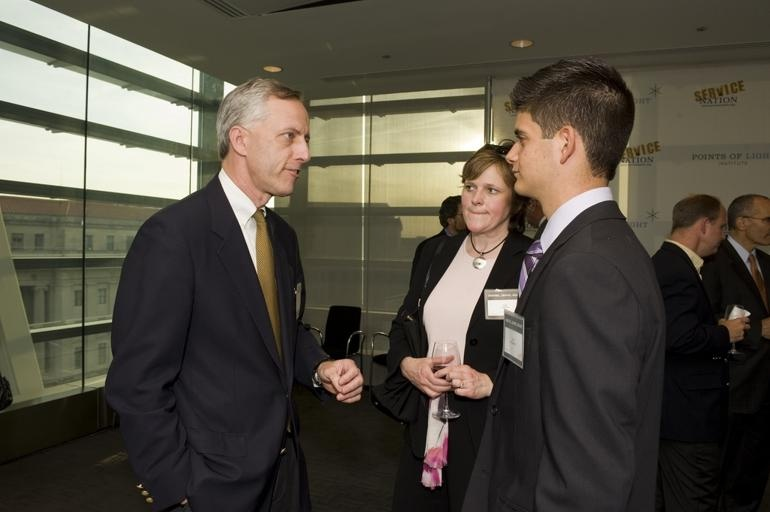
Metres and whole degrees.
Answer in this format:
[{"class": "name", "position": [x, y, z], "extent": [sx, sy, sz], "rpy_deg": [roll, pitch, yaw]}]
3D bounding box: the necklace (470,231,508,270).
[{"class": "necklace", "position": [0.663, -0.042, 3.521], "extent": [0.188, 0.254, 0.109], "rpy_deg": [8, -34, 26]}]

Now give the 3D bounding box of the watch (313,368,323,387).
[{"class": "watch", "position": [-0.393, 0.707, 3.221], "extent": [0.032, 0.089, 0.065], "rpy_deg": [-9, 17, -19]}]

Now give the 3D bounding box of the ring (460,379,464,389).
[{"class": "ring", "position": [0.435, 0.730, 3.146], "extent": [0.021, 0.032, 0.034], "rpy_deg": [7, -21, 10]}]

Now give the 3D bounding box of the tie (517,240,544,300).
[{"class": "tie", "position": [0.744, 0.044, 2.816], "extent": [0.118, 0.411, 0.045], "rpy_deg": [11, -39, 17]}]

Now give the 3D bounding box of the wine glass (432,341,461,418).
[{"class": "wine glass", "position": [0.361, 0.760, 3.306], "extent": [0.164, 0.522, 0.174], "rpy_deg": [1, 5, 14]}]
